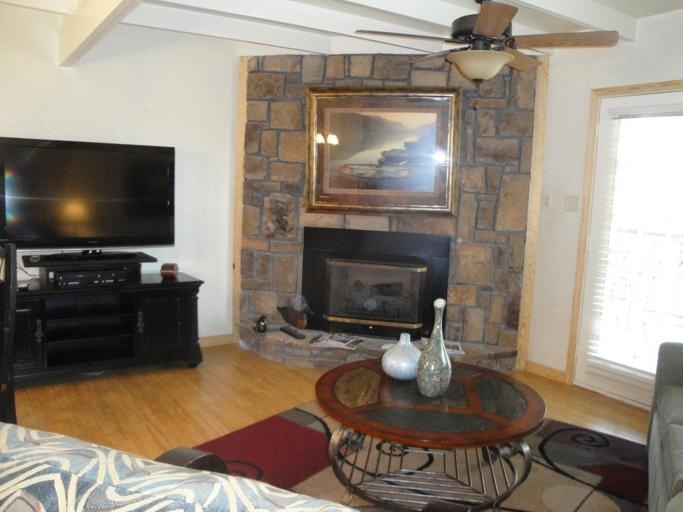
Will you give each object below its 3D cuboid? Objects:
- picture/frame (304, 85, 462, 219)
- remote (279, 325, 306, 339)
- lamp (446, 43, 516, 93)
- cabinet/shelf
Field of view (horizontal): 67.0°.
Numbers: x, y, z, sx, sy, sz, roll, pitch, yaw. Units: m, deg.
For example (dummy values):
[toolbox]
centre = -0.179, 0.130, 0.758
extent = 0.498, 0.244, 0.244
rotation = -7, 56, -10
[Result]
[picture/frame]
centre = 0.426, -0.967, 4.603
extent = 1.477, 0.946, 0.058
rotation = 2, 7, 7
[remote]
centre = -0.462, 0.703, 4.821
extent = 0.096, 0.047, 0.286
rotation = -13, 16, -30
[lamp]
centre = 0.745, -1.032, 2.786
extent = 0.347, 0.180, 0.237
rotation = -1, 12, -14
[cabinet/shelf]
centre = -2.090, 0.619, 4.320
extent = 1.670, 0.705, 0.527
rotation = -2, 4, -29
